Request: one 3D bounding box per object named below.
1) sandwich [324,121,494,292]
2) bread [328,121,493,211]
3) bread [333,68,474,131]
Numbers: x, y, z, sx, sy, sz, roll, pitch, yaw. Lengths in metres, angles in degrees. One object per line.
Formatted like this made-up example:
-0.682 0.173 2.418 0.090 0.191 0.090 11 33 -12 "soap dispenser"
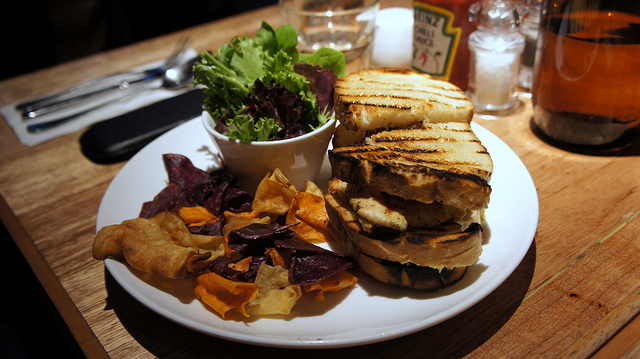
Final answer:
0.345 0.104 1.852 0.561 0.251 0.653 2 53 9 "sandwich"
0.393 -0.105 2.165 0.782 0.291 0.559 -3 11 8 "bread"
0.347 -0.378 2.198 0.598 0.123 0.495 -9 38 -21 "bread"
